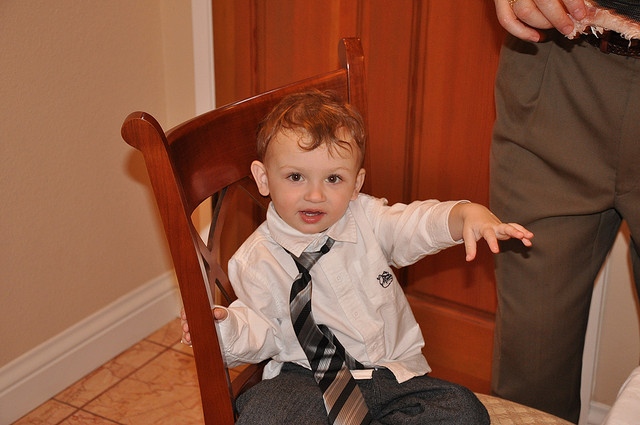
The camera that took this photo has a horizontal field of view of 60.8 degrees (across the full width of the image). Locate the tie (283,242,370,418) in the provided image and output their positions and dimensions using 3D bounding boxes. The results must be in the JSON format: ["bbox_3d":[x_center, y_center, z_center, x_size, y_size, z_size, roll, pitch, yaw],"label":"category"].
[{"bbox_3d":[0.008,0.335,1.398,0.134,0.028,0.530,-10,55,-14],"label":"tie"}]
